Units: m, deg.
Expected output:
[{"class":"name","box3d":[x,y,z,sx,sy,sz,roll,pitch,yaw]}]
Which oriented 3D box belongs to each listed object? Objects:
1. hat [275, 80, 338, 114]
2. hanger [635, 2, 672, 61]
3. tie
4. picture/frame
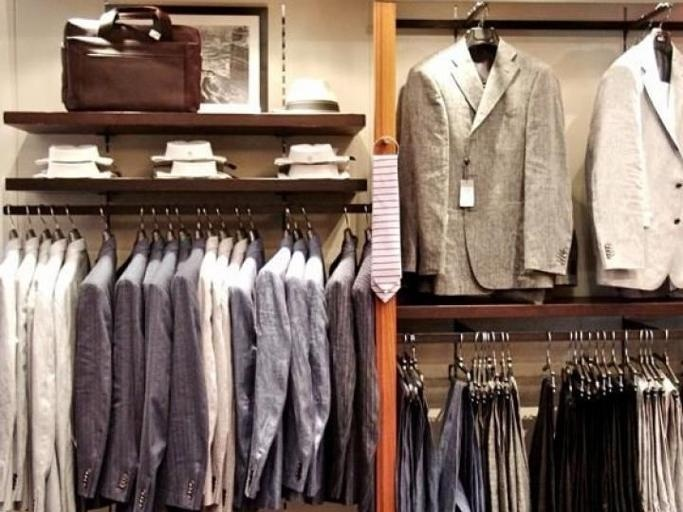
[{"class":"hat","box3d":[-0.128,-0.682,4.120,0.165,0.099,0.176,0,3,-9]},{"class":"hanger","box3d":[1.373,-0.969,4.081,0.081,0.315,0.262,1,0,-1]},{"class":"tie","box3d":[0.181,-0.140,3.754,0.115,0.663,0.100,0,-6,1]},{"class":"picture/frame","box3d":[-0.718,-0.860,4.138,0.480,0.393,0.022,0,2,-3]}]
